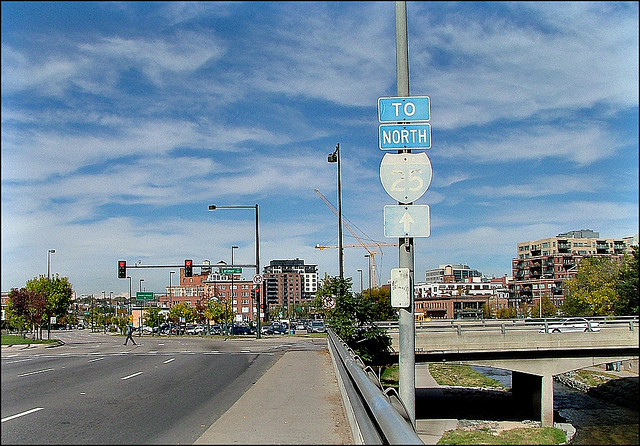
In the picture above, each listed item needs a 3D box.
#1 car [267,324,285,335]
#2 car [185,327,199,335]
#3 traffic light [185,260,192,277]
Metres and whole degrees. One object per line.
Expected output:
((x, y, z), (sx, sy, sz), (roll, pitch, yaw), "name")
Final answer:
((-5.354, 13.089, 80.858), (1.594, 0.782, 0.949), (3, -7, 0), "car")
((-16.539, 14.023, 85.680), (1.643, 0.925, 6.477), (5, -2, -12), "car")
((-11.028, 3.769, 55.588), (0.534, 1.352, 0.577), (5, -1, -20), "traffic light")
